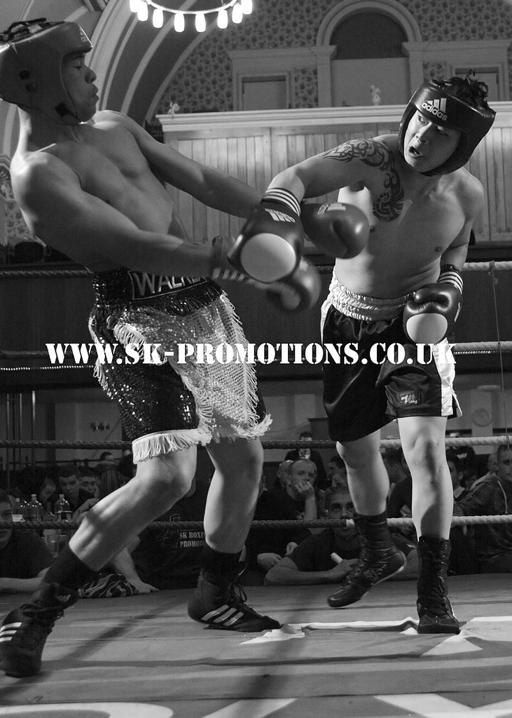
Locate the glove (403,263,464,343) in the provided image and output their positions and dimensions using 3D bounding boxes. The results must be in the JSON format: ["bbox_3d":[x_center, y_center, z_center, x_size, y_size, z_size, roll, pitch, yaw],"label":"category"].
[{"bbox_3d":[0.359,-0.118,1.666,0.117,0.158,0.211,-1,0,12],"label":"glove"}]

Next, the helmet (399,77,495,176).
[{"bbox_3d":[0.391,-0.471,1.624,0.181,0.191,0.144,-1,0,-31],"label":"helmet"}]

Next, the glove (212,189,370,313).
[{"bbox_3d":[0.044,-0.171,1.279,0.203,0.205,0.091,41,-12,36],"label":"glove"}]
